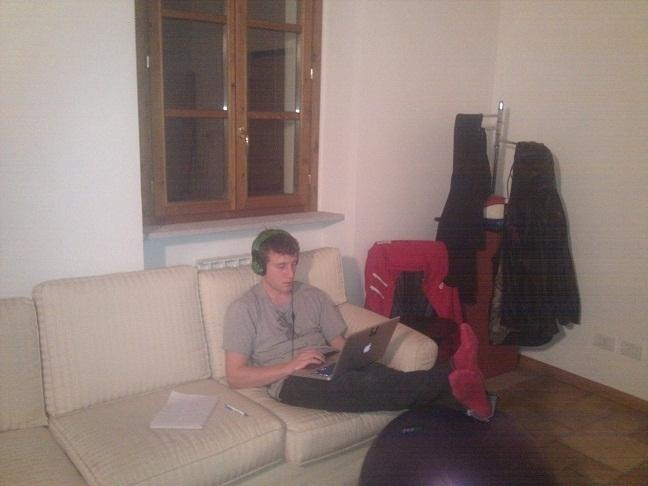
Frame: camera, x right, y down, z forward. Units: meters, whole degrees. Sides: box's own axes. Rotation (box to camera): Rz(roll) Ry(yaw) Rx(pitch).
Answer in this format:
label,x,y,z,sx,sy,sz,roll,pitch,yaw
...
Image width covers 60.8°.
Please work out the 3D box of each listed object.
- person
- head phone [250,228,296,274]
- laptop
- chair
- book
label,x,y,z,sx,sy,sz,roll,pitch,yaw
person,0.284,0.392,2.595,1.268,0.746,0.643,0,2,24
head phone,-0.260,0.046,2.639,0.199,0.183,0.211,-4,1,31
laptop,0.117,0.410,2.455,0.349,0.197,0.315,-11,14,-43
chair,0.533,0.322,3.361,0.634,0.679,0.393,-1,11,10
book,-0.570,0.696,2.300,0.231,0.055,0.281,-2,7,-1
